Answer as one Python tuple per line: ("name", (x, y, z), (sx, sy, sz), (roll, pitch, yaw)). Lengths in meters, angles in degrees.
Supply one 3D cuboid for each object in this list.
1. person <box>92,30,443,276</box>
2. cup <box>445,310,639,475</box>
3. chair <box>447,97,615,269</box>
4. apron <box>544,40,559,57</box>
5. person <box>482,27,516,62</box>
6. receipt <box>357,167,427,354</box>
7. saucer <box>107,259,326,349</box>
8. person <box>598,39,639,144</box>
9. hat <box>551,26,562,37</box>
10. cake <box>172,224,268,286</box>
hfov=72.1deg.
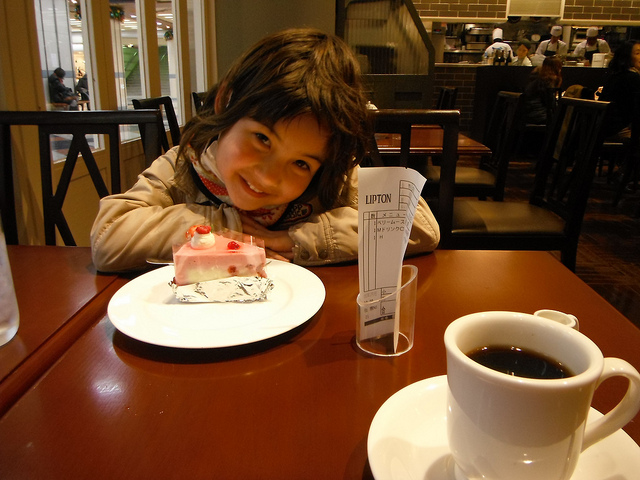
("person", (-0.131, -0.199, 1.061), (0.729, 0.522, 0.443), (5, 21, -23))
("cup", (0.226, 0.154, 0.504), (0.190, 0.196, 0.146), (1, 14, 14))
("chair", (0.841, -0.117, 1.978), (0.610, 0.947, 0.556), (4, 18, 21))
("apron", (4.231, -3.472, 8.037), (0.234, 0.265, 0.534), (17, 28, 30))
("person", (3.396, -3.620, 8.249), (0.520, 0.541, 1.246), (11, 25, 18))
("receipt", (0.117, 0.016, 0.667), (0.080, 0.264, 0.154), (16, 27, 30))
("saucer", (-0.167, 0.102, 0.731), (0.350, 0.017, 0.252), (1, 24, -6))
("person", (2.954, -1.456, 4.313), (0.309, 0.880, 1.108), (15, 26, 28))
("hat", (4.287, -3.750, 7.986), (0.160, 0.190, 0.443), (13, 26, 22))
("cake", (-0.175, 0.031, 0.783), (0.115, 0.080, 0.122), (11, 24, -3))
